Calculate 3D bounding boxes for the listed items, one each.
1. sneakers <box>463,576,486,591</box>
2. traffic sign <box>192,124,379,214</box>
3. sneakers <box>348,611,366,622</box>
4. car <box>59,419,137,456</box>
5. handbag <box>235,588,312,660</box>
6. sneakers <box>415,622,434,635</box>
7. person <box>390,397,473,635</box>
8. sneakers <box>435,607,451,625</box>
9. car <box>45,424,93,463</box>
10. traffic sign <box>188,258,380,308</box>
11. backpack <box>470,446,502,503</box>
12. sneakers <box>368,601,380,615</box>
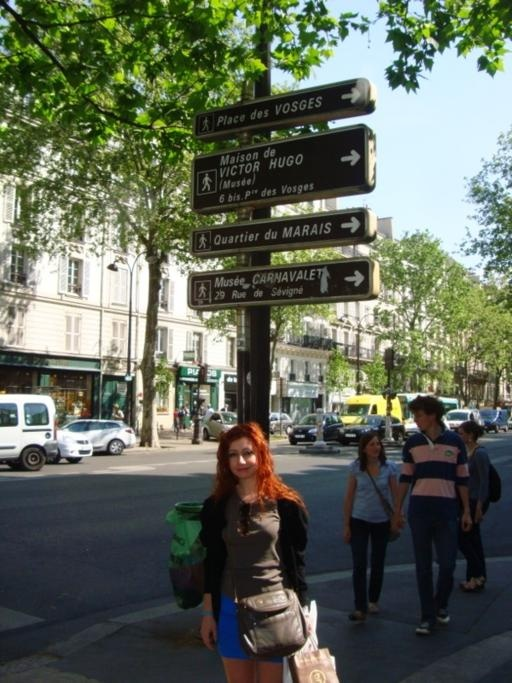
[{"bbox_3d":[2.054,2.285,5.811,0.239,0.078,0.093,10,-15,-40],"label":"sneakers"},{"bbox_3d":[0.091,-0.857,3.128,1.061,0.349,0.103,-3,-4,34],"label":"traffic sign"},{"bbox_3d":[0.761,2.068,4.623,0.125,0.068,0.146,-1,-4,8],"label":"sneakers"},{"bbox_3d":[-5.878,3.676,23.510,2.479,0.955,1.256,8,-13,-36],"label":"car"},{"bbox_3d":[0.055,0.939,2.024,0.209,0.199,0.112,-6,-28,-18],"label":"handbag"},{"bbox_3d":[1.156,1.993,4.263,0.060,0.069,0.165,-8,-27,25],"label":"sneakers"},{"bbox_3d":[1.304,1.260,4.688,0.480,1.671,0.894,-2,-4,29],"label":"person"},{"bbox_3d":[1.378,2.034,4.571,0.088,0.072,0.173,2,1,14],"label":"sneakers"},{"bbox_3d":[-5.905,3.442,20.050,1.621,0.765,0.941,-8,-8,40],"label":"car"},{"bbox_3d":[0.091,-0.277,3.042,1.109,0.225,0.194,-3,-4,34],"label":"traffic sign"},{"bbox_3d":[2.339,1.420,6.434,0.342,0.574,0.559,9,-12,0],"label":"backpack"},{"bbox_3d":[0.933,2.139,4.937,0.040,0.083,0.121,2,6,34],"label":"sneakers"}]
